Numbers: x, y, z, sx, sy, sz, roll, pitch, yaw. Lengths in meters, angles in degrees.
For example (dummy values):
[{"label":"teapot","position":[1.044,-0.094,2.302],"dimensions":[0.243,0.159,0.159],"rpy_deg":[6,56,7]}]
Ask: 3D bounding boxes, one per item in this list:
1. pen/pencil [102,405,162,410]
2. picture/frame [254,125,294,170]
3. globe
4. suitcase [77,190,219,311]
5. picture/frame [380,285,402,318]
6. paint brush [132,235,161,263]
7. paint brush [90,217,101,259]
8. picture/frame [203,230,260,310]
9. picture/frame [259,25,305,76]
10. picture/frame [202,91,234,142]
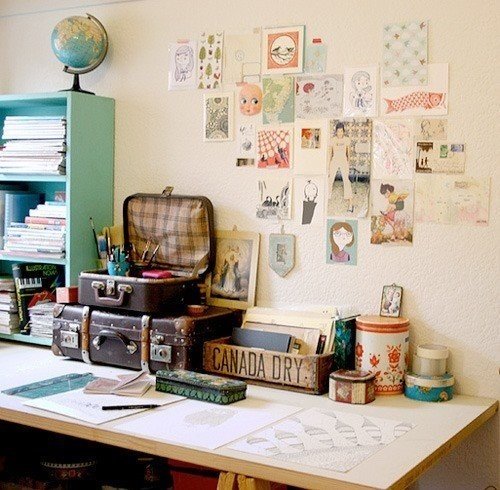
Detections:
[{"label":"pen/pencil","position":[-0.328,0.448,1.329],"dimensions":[0.126,0.012,0.011],"rpy_deg":[1,-5,-5]},{"label":"picture/frame","position":[0.098,-0.379,1.882],"dimensions":[0.154,0.179,0.016],"rpy_deg":[3,0,32]},{"label":"globe","position":[-0.781,-0.877,2.197],"dimensions":[0.225,0.360,0.178],"rpy_deg":[4,5,24]},{"label":"suitcase","position":[-0.405,0.012,1.958],"dimensions":[0.455,0.479,0.465],"rpy_deg":[2,1,11]},{"label":"picture/frame","position":[0.490,0.193,1.682],"dimensions":[0.067,0.107,0.052],"rpy_deg":[4,5,19]},{"label":"paint brush","position":[-0.456,0.021,2.095],"dimensions":[0.098,0.119,0.039],"rpy_deg":[9,0,-8]},{"label":"paint brush","position":[-0.689,-0.026,2.142],"dimensions":[0.020,0.185,0.017],"rpy_deg":[-7,7,17]},{"label":"picture/frame","position":[-0.068,0.098,1.966],"dimensions":[0.257,0.370,0.014],"rpy_deg":[5,4,33]},{"label":"picture/frame","position":[0.130,-0.744,1.847],"dimensions":[0.185,0.192,0.021],"rpy_deg":[3,7,33]},{"label":"picture/frame","position":[-0.127,-0.528,1.980],"dimensions":[0.191,0.289,0.011],"rpy_deg":[0,-1,36]}]
